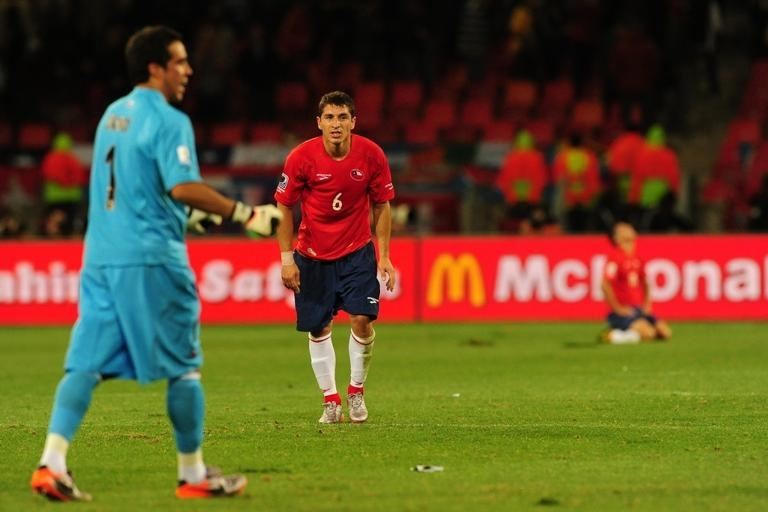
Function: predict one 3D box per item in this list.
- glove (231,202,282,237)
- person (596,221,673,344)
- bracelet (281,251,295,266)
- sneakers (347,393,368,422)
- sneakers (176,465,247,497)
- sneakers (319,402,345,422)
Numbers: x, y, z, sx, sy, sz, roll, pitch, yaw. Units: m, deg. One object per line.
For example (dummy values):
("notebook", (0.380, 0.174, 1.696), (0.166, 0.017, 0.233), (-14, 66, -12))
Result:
("glove", (-1.184, -0.327, 10.919), (0.468, 0.336, 0.240), (0, 15, -6))
("person", (3.417, 0.412, 15.819), (0.902, 1.639, 0.501), (2, 15, 4))
("bracelet", (-1.043, 0.037, 12.502), (0.149, 0.138, 0.139), (-2, 4, 13))
("sneakers", (-0.265, 1.629, 12.609), (0.148, 0.146, 0.378), (-5, 25, -6))
("sneakers", (-1.619, 2.121, 11.082), (0.665, 0.261, 0.253), (-1, -5, -6))
("sneakers", (-0.554, 1.676, 12.640), (0.261, 0.206, 0.370), (1, 15, -2))
